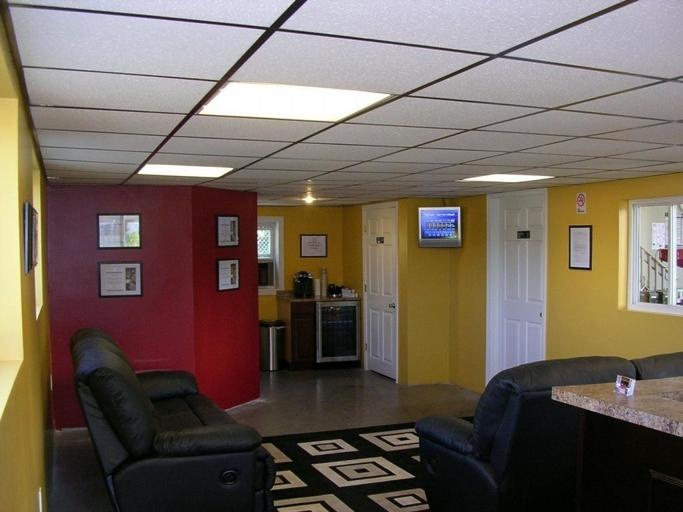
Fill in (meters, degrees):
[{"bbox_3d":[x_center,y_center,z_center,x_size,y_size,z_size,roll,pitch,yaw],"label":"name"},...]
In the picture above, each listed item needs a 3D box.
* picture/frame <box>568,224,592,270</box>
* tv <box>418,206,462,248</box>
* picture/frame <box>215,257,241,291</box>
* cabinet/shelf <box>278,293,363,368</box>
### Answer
[{"bbox_3d":[2.707,-0.099,5.780,0.046,0.489,0.302,0,1,-18],"label":"picture/frame"},{"bbox_3d":[1.415,-0.415,7.256,0.595,0.554,0.076,1,-1,9],"label":"tv"},{"bbox_3d":[-1.351,0.225,6.207,0.016,0.404,0.422,2,8,29],"label":"picture/frame"},{"bbox_3d":[-0.369,1.242,9.143,1.654,1.432,1.099,0,-3,-14],"label":"cabinet/shelf"}]
